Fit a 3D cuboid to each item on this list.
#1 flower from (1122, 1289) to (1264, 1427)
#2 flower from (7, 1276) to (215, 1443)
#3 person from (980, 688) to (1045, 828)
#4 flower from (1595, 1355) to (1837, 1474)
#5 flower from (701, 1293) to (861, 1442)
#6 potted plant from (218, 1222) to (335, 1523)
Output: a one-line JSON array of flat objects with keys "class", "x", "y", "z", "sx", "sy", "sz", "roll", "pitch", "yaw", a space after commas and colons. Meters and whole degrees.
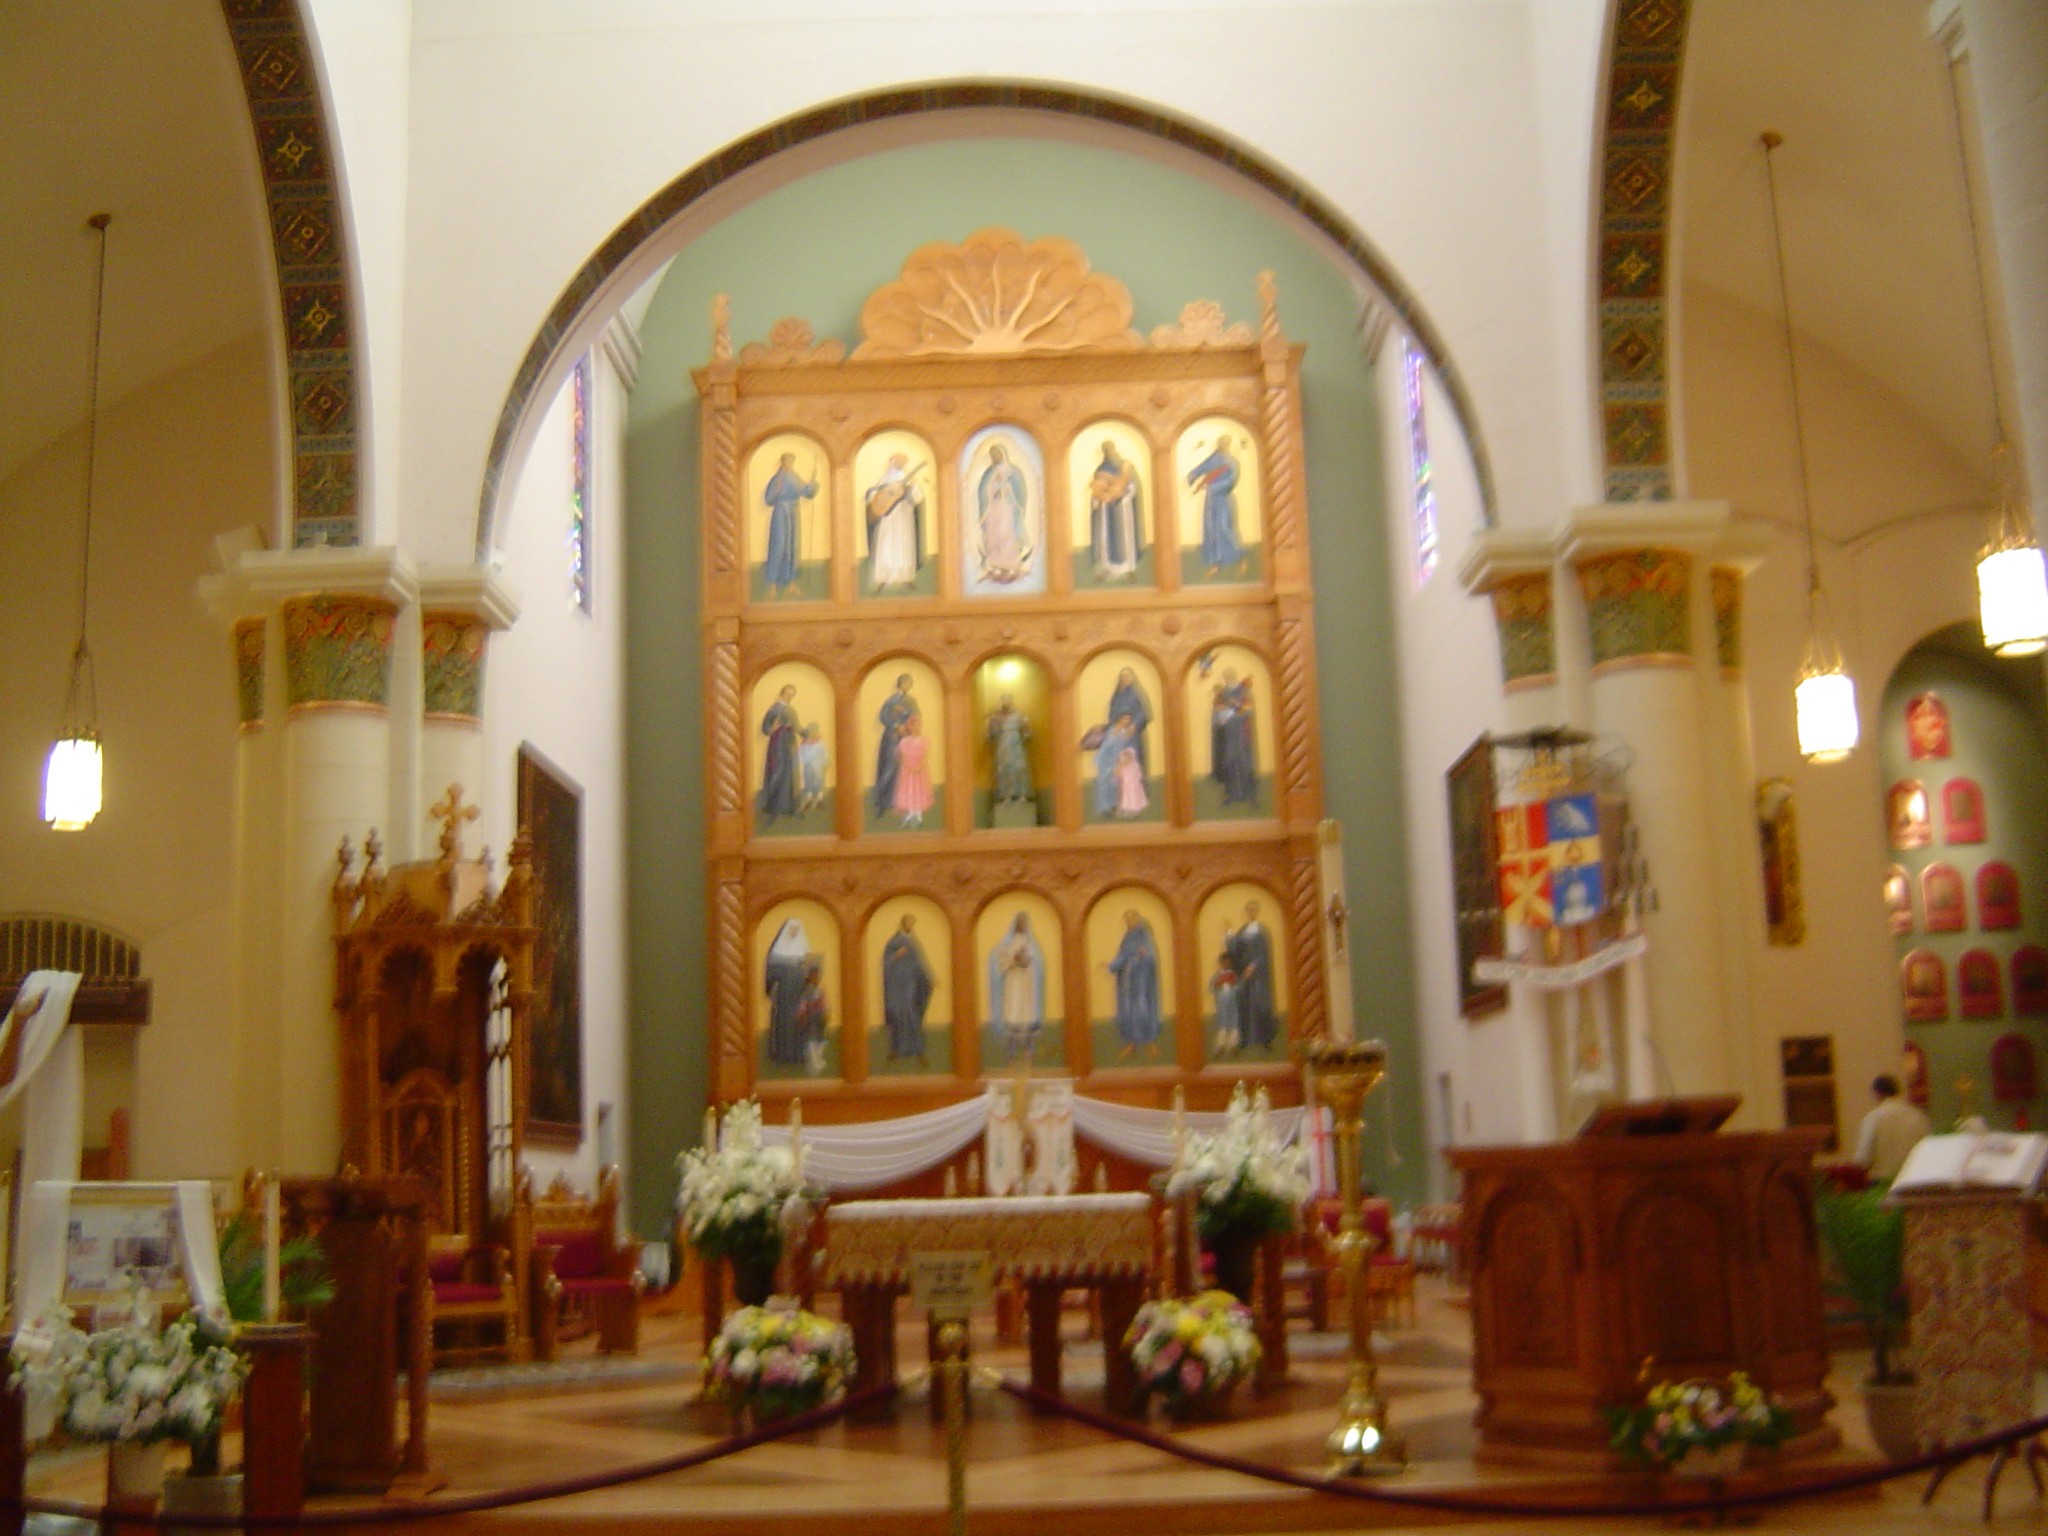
[{"class": "flower", "x": 0.953, "y": 3.254, "z": 11.094, "sx": 0.558, "sy": 0.441, "sz": 0.693, "roll": -3, "pitch": -14, "yaw": 15}, {"class": "flower", "x": -3.854, "y": 2.632, "z": 8.711, "sx": 0.761, "sy": 0.678, "sz": 0.665, "roll": 4, "pitch": 0, "yaw": 12}, {"class": "person", "x": -0.148, "y": -0.094, "z": 22.142, "sx": 0.653, "sy": 1.432, "sz": 0.171, "roll": -3, "pitch": -13, "yaw": -1}, {"class": "flower", "x": 2.963, "y": 2.842, "z": 8.771, "sx": 0.541, "sy": 0.289, "sz": 0.546, "roll": 2, "pitch": -6, "yaw": -22}, {"class": "flower", "x": -1.273, "y": 3.213, "z": 11.409, "sx": 0.969, "sy": 1.040, "sz": 1.124, "roll": 2, "pitch": -12, "yaw": 1}, {"class": "potted plant", "x": -3.247, "y": 2.670, "z": 8.662, "sx": 0.427, "sy": 1.187, "sz": 1.801, "roll": 2, "pitch": -15, "yaw": -21}]
